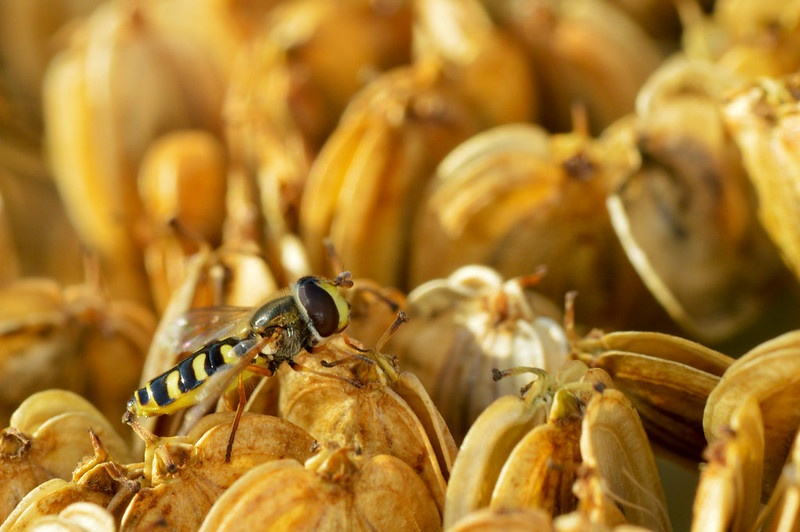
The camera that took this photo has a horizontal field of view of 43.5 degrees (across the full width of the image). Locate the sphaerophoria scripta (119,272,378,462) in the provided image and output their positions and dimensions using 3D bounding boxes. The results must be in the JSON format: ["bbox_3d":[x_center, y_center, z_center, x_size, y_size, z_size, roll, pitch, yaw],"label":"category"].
[{"bbox_3d":[-0.236,0.121,1.504,0.305,0.115,0.245,-34,34,1],"label":"sphaerophoria scripta"}]
